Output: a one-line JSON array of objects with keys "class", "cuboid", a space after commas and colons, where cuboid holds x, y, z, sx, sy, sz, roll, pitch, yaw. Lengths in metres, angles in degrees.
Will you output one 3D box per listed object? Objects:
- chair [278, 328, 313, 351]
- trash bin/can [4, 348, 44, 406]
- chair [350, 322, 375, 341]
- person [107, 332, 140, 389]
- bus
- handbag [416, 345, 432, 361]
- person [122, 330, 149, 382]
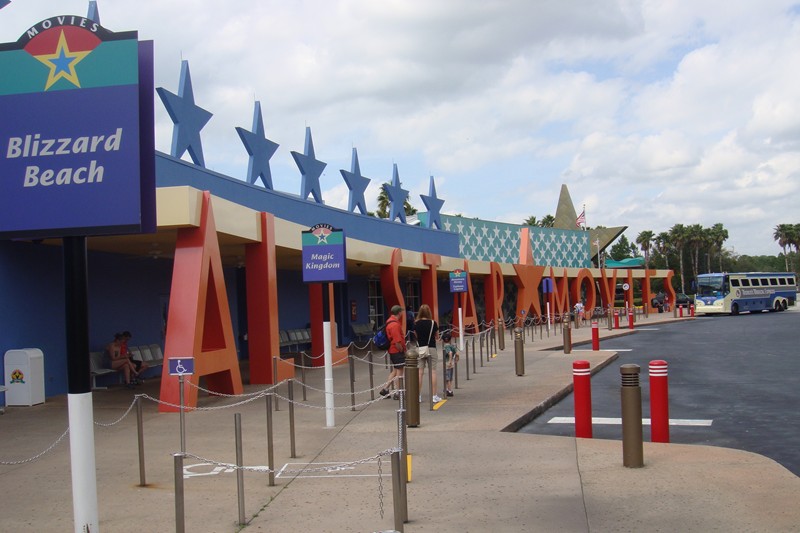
[{"class": "chair", "cuboid": [-4.314, 2.955, 30.604, 0.901, 1.034, 3.174, -5, -7, 6]}, {"class": "trash bin/can", "cuboid": [-8.878, 2.604, 17.541, 0.806, 1.355, 0.537, -1, -7, -26]}, {"class": "chair", "cuboid": [-1.798, 3.150, 36.034, 0.652, 0.887, 2.920, -5, -7, 11]}, {"class": "person", "cuboid": [-7.474, 2.497, 20.151, 0.491, 1.406, 0.862, -4, -7, 7]}, {"class": "bus", "cuboid": [27.909, 1.979, 59.824, 13.322, 4.077, 3.455, 4, -6, -42]}, {"class": "handbag", "cuboid": [0.535, 1.779, 15.842, 0.411, 0.425, 0.236, 0, -11, -3]}, {"class": "person", "cuboid": [-7.492, 2.569, 20.994, 0.557, 1.159, 1.474, -1, -1, 6]}]
